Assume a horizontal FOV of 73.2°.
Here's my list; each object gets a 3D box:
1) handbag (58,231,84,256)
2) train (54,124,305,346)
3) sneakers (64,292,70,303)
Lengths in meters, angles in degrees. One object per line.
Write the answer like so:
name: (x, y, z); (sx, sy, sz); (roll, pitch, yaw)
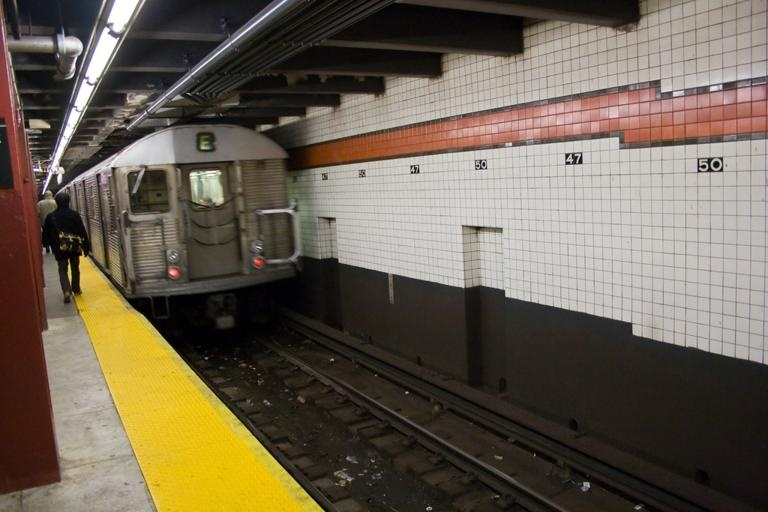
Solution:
handbag: (-5.593, -0.234, 9.211); (0.185, 0.346, 0.475); (15, 8, 41)
train: (-3.540, -0.681, 9.762); (2.374, 2.343, 8.685); (-5, 7, -28)
sneakers: (-5.667, 0.751, 9.274); (0.083, 0.200, 0.091); (6, 17, -28)
